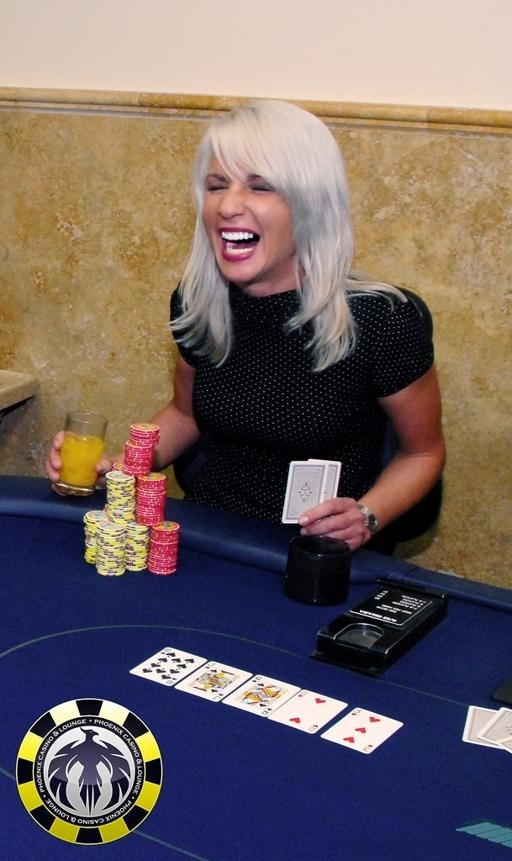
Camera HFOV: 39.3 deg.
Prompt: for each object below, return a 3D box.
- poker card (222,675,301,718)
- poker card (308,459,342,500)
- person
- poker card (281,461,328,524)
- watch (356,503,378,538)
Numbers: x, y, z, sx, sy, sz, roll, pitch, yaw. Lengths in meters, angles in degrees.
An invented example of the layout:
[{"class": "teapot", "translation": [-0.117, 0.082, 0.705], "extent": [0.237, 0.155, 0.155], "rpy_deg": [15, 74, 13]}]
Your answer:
[{"class": "poker card", "translation": [0.005, 0.319, 0.863], "extent": [0.035, 0.002, 0.048], "rpy_deg": [13, 16, 30]}, {"class": "poker card", "translation": [0.128, 0.094, 1.360], "extent": [0.085, 0.114, 0.009], "rpy_deg": [5, 28, 6]}, {"class": "person", "translation": [-0.020, -0.181, 1.658], "extent": [0.845, 1.075, 0.608], "rpy_deg": [11, 16, 35]}, {"class": "poker card", "translation": [0.094, 0.118, 1.334], "extent": [0.119, 0.157, 0.008], "rpy_deg": [8, 5, -33]}, {"class": "watch", "translation": [0.228, 0.179, 1.431], "extent": [0.023, 0.061, 0.053], "rpy_deg": [-15, 3, -12]}]
